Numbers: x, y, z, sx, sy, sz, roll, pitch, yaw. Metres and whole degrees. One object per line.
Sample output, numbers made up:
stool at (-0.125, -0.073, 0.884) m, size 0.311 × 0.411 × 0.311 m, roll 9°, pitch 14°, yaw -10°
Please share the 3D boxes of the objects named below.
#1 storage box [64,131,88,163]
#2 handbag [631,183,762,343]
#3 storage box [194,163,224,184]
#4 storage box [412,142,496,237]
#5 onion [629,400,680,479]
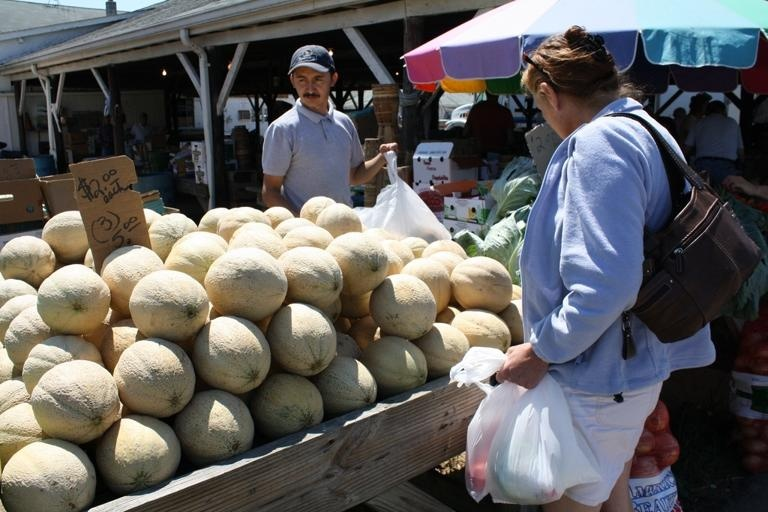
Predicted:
storage box at (-9.263, -3.297, 18.482) m, size 0.664 × 0.803 × 1.364 m, roll -8°, pitch 16°, yaw -26°
handbag at (1.270, 0.048, 2.645) m, size 0.354 × 0.789 × 0.476 m, roll -2°, pitch -2°, yaw -21°
storage box at (-3.570, -1.564, 12.205) m, size 0.468 × 0.526 × 0.360 m, roll 5°, pitch 17°, yaw 37°
storage box at (0.698, -0.464, 6.640) m, size 1.143 × 0.745 × 1.080 m, roll -5°, pitch 23°, yaw 3°
onion at (1.521, 1.035, 3.573) m, size 0.280 × 0.482 × 0.223 m, roll 2°, pitch -23°, yaw 1°
